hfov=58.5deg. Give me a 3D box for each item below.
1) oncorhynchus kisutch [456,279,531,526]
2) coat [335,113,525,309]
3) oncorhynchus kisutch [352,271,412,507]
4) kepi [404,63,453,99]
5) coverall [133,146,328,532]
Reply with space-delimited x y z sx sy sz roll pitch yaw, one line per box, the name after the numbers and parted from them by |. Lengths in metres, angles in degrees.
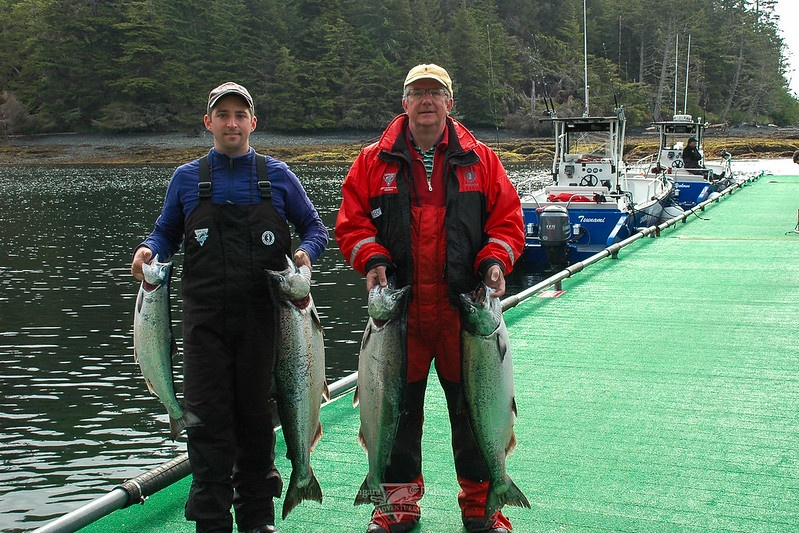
0.585 0.867 4.479 0.350 1.506 0.229 -5 7 3 | oncorhynchus kisutch
0.202 -0.344 4.993 1.719 1.466 1.169 -1 7 -5 | coat
-0.108 0.830 4.480 0.461 1.428 0.122 -5 7 -1 | oncorhynchus kisutch
0.180 -1.214 4.637 0.301 0.247 0.468 -4 7 1 | kepi
-1.006 0.467 4.522 0.986 2.390 0.377 -11 9 -39 | coverall
